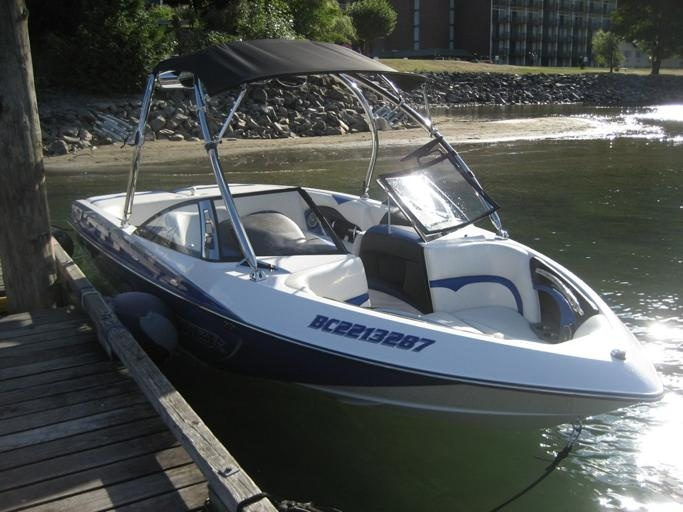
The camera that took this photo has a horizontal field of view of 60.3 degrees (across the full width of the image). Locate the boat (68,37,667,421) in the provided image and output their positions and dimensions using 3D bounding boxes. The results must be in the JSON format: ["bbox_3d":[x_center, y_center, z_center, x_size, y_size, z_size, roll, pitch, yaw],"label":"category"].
[{"bbox_3d":[0.088,-0.374,4.799,4.889,2.013,2.931,20,22,37],"label":"boat"}]
